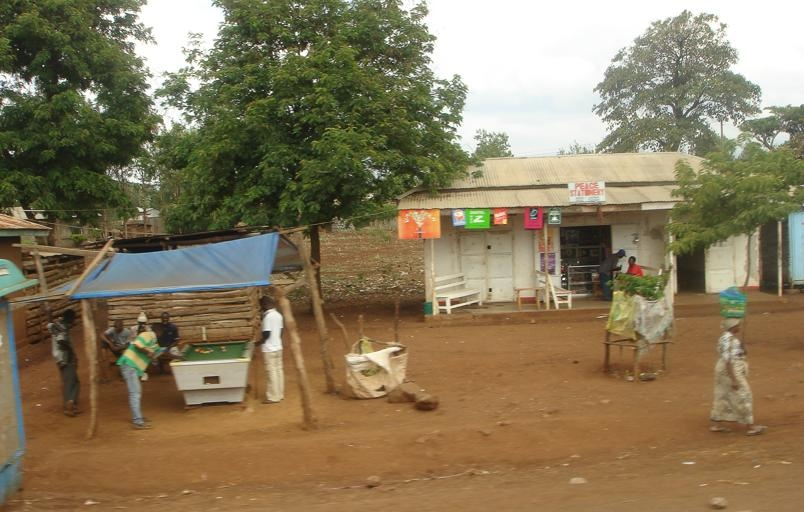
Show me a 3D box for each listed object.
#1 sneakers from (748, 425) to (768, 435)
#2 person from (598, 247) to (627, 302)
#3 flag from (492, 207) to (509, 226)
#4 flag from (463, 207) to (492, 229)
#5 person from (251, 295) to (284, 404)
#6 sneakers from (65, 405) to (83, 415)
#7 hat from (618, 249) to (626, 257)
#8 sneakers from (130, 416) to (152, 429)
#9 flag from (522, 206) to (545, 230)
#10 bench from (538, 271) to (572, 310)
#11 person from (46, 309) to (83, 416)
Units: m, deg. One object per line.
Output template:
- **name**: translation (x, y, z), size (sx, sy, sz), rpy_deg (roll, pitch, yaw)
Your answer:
- **sneakers**: translation (7.326, 3.566, 13.885), size (0.441, 0.173, 0.145), rpy_deg (-3, 2, -18)
- **person**: translation (7.991, 0.736, 25.606), size (0.982, 1.924, 1.592), rpy_deg (-4, 2, 16)
- **flag**: translation (3.536, -1.452, 24.405), size (1.069, 0.594, 0.196), rpy_deg (2, -4, 6)
- **flag**: translation (2.748, -1.339, 24.240), size (1.109, 0.448, 0.799), rpy_deg (0, 3, 3)
- **person**: translation (-3.119, 2.260, 16.439), size (0.652, 2.597, 0.742), rpy_deg (-6, 3, -9)
- **sneakers**: translation (-7.721, 3.643, 16.065), size (0.294, 0.218, 0.405), rpy_deg (-3, 2, 9)
- **hat**: translation (8.327, -0.104, 25.596), size (0.389, 0.217, 0.383), rpy_deg (3, 8, 11)
- **sneakers**: translation (-5.834, 3.761, 15.383), size (0.357, 0.185, 0.381), rpy_deg (-2, 2, 14)
- **flag**: translation (4.777, -1.395, 24.406), size (0.686, 0.734, 0.247), rpy_deg (-4, 3, 7)
- **bench**: translation (5.727, 1.312, 25.533), size (0.884, 0.760, 1.816), rpy_deg (-2, 4, -4)
- **person**: translation (-8.020, 2.529, 16.235), size (0.589, 1.987, 0.910), rpy_deg (-7, 3, -23)
